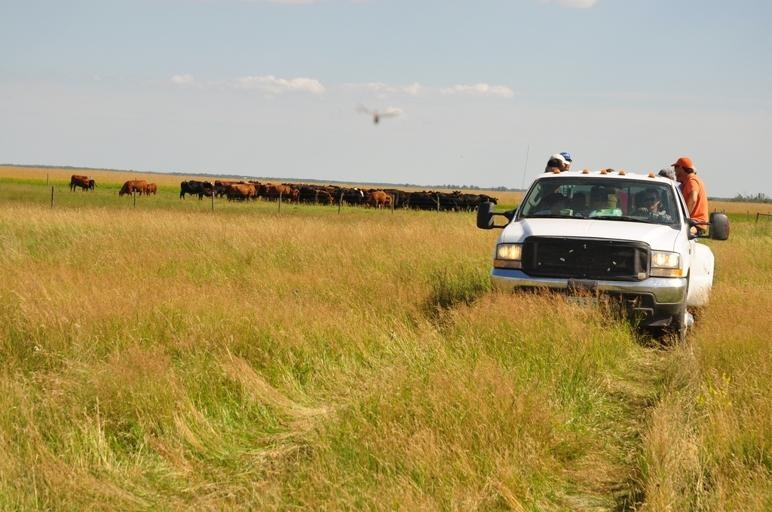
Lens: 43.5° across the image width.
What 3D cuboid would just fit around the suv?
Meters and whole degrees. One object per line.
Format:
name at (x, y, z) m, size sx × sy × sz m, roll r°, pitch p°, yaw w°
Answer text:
suv at (3.431, 0.027, 14.817) m, size 2.505 × 1.803 × 4.047 m, roll 2°, pitch -4°, yaw 19°
